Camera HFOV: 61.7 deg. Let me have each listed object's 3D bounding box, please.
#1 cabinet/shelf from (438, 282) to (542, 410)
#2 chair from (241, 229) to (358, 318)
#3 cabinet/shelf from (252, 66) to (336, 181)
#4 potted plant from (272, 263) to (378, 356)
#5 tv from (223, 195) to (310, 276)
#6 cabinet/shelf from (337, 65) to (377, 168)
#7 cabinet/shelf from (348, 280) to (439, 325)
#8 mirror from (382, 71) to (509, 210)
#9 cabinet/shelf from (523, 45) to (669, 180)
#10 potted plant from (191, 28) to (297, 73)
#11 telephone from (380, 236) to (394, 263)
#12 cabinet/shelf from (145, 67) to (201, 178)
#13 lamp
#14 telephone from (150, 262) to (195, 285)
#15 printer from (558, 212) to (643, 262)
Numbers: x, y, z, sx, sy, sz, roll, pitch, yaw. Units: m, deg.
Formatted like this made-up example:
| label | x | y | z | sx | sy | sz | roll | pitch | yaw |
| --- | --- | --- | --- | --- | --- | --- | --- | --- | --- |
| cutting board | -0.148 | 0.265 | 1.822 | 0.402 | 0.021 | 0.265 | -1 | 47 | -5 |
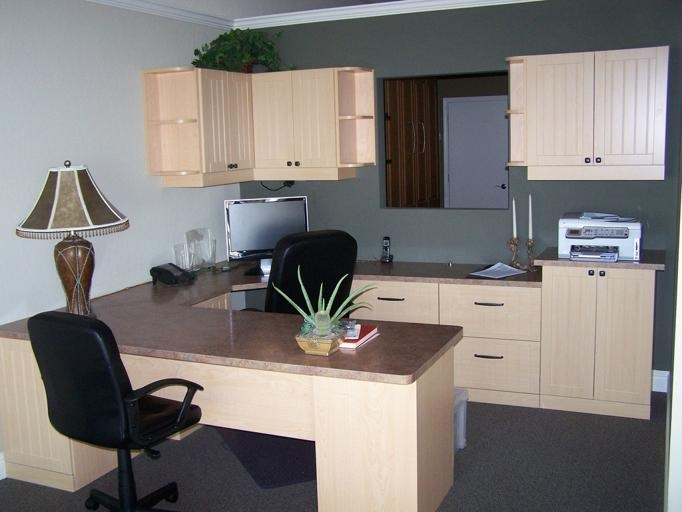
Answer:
| label | x | y | z | sx | sy | sz | roll | pitch | yaw |
| --- | --- | --- | --- | --- | --- | --- | --- | --- | --- |
| cabinet/shelf | 1.094 | 0.686 | 4.558 | 0.942 | 0.905 | 0.551 | 2 | -3 | 3 |
| chair | -0.221 | 0.037 | 3.764 | 0.538 | 0.709 | 0.601 | -4 | 9 | -35 |
| cabinet/shelf | -0.338 | -1.126 | 4.825 | 0.705 | 0.809 | 0.305 | 3 | 11 | 21 |
| potted plant | -0.069 | 0.305 | 2.920 | 0.473 | 0.323 | 0.479 | 3 | 6 | 9 |
| tv | -0.569 | -0.164 | 4.410 | 0.643 | 0.576 | 0.228 | -2 | -1 | -15 |
| cabinet/shelf | 0.136 | -1.147 | 4.706 | 0.216 | 0.779 | 0.456 | 5 | 15 | 25 |
| cabinet/shelf | 0.493 | 0.356 | 4.488 | 0.620 | 0.378 | 0.354 | 2 | 6 | 14 |
| mirror | 1.245 | -1.367 | 6.568 | 1.764 | 1.733 | 1.313 | 1 | 4 | 19 |
| cabinet/shelf | 1.872 | -1.037 | 4.123 | 0.991 | 0.933 | 0.385 | 1 | 5 | 15 |
| potted plant | -0.866 | -1.790 | 4.940 | 0.865 | 0.415 | 0.503 | -7 | 14 | -23 |
| telephone | 0.418 | -0.065 | 5.044 | 0.111 | 0.211 | 0.167 | 0 | 13 | 5 |
| cabinet/shelf | -1.241 | -0.998 | 4.233 | 0.444 | 0.762 | 0.194 | 4 | 14 | 21 |
| lamp | -1.596 | -0.110 | 3.420 | 0.546 | 0.896 | 0.297 | 0 | 13 | 6 |
| telephone | -1.276 | 0.140 | 4.334 | 0.230 | 0.097 | 0.177 | 10 | 12 | 16 |
| printer | 1.852 | -0.129 | 4.091 | 0.397 | 0.235 | 0.389 | 3 | 6 | 25 |
